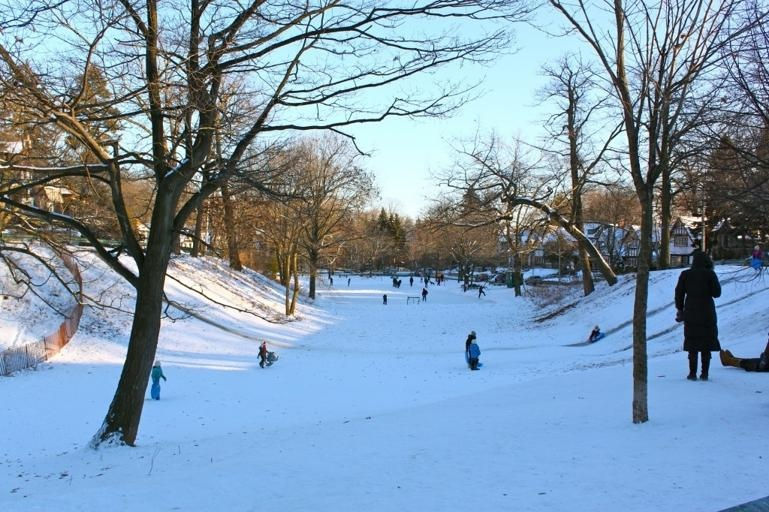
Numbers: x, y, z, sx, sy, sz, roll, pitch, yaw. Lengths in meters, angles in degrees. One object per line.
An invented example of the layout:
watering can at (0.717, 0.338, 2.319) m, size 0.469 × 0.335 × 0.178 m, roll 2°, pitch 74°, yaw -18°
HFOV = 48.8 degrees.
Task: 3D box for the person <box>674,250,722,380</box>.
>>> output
person at (7.658, 1.445, 20.655) m, size 0.985 × 3.159 × 0.566 m, roll -1°, pitch 10°, yaw 22°

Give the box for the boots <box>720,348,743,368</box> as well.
boots at (8.774, 2.640, 21.500) m, size 0.241 × 0.308 × 0.739 m, roll -4°, pitch 28°, yaw 13°

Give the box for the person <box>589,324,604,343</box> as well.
person at (7.853, 2.897, 31.384) m, size 0.296 × 0.434 × 0.910 m, roll 2°, pitch 4°, yaw 28°

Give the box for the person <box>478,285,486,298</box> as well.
person at (8.233, 3.004, 71.681) m, size 0.720 × 1.073 × 0.474 m, roll -17°, pitch 15°, yaw -5°

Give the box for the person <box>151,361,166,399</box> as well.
person at (-7.049, 3.763, 26.079) m, size 0.461 × 1.163 × 0.933 m, roll -8°, pitch 9°, yaw -18°

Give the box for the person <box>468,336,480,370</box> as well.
person at (2.978, 3.207, 28.389) m, size 0.422 × 1.094 × 1.083 m, roll -4°, pitch 9°, yaw 4°
